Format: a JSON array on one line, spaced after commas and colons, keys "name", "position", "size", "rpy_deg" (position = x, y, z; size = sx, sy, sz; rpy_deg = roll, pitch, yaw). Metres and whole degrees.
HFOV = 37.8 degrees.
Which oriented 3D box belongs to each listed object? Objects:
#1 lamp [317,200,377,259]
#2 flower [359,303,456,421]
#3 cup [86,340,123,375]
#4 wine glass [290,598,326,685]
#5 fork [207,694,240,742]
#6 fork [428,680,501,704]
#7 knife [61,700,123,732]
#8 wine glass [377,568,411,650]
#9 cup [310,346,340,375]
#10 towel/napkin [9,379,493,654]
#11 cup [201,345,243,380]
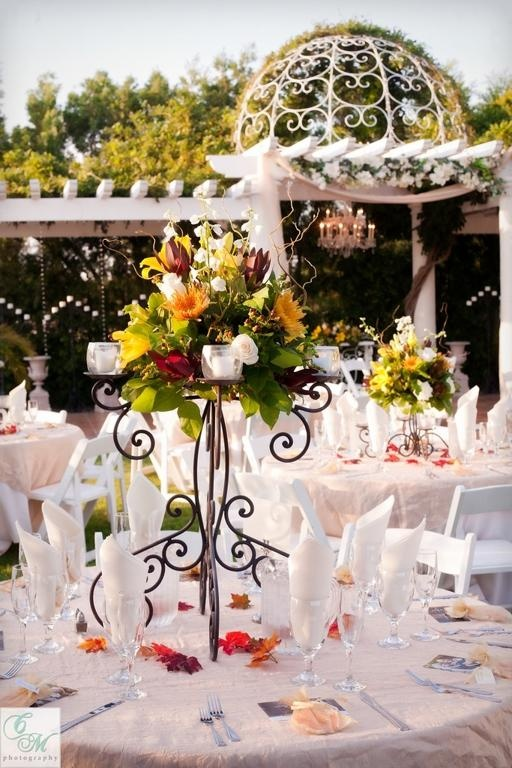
[{"name": "lamp", "position": [1.245, -2.165, 10.396], "size": [0.801, 0.950, 0.781], "rpy_deg": [-10, 18, -33]}, {"name": "flower", "position": [0.768, -0.063, 3.686], "size": [0.325, 0.455, 0.399], "rpy_deg": [5, 8, 40]}, {"name": "cup", "position": [-0.344, -0.063, 1.675], "size": [0.084, 0.075, 0.081], "rpy_deg": [0, 7, 0]}, {"name": "wine glass", "position": [0.089, 0.438, 1.275], "size": [0.066, 0.126, 0.060], "rpy_deg": [2, -11, 8]}, {"name": "fork", "position": [-0.049, 0.543, 1.217], "size": [0.018, 0.015, 0.103], "rpy_deg": [-7, 17, -11]}, {"name": "fork", "position": [0.364, 0.542, 1.316], "size": [0.113, 0.016, 0.034], "rpy_deg": [-2, 3, 38]}, {"name": "knife", "position": [-0.274, 0.547, 1.235], "size": [0.030, 0.007, 0.126], "rpy_deg": [4, 5, 42]}, {"name": "wine glass", "position": [0.277, 0.447, 1.510], "size": [0.079, 0.154, 0.075], "rpy_deg": [5, -9, -33]}, {"name": "cup", "position": [0.152, -0.047, 1.675], "size": [0.071, 0.067, 0.069], "rpy_deg": [2, 2, 0]}, {"name": "towel/napkin", "position": [-0.075, 0.310, 1.822], "size": [0.730, 0.732, 0.704], "rpy_deg": [0, 1, 3]}, {"name": "cup", "position": [-0.066, -0.036, 1.392], "size": [0.070, 0.063, 0.069], "rpy_deg": [-2, 2, 0]}]
